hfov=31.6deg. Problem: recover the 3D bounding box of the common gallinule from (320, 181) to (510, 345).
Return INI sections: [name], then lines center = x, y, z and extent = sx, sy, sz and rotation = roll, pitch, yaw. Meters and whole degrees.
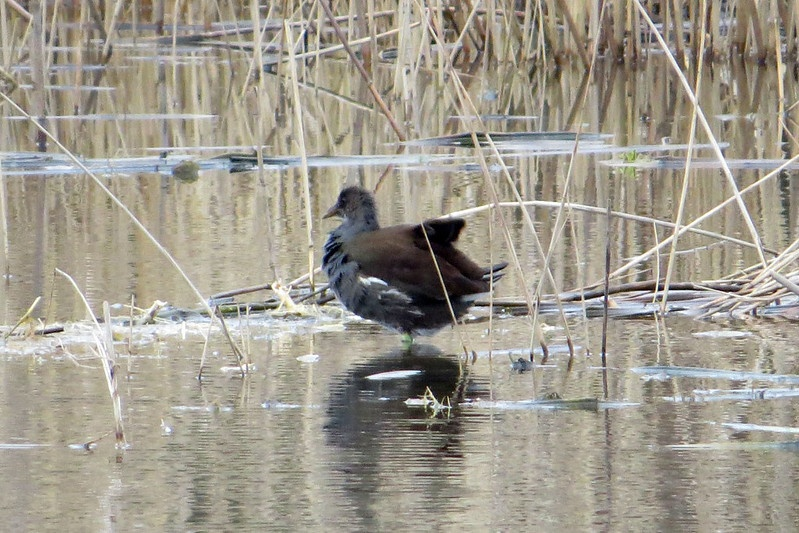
[common gallinule]
center = 0.131, -0.028, 7.775
extent = 1.141, 0.757, 0.645
rotation = 6, 20, 34
